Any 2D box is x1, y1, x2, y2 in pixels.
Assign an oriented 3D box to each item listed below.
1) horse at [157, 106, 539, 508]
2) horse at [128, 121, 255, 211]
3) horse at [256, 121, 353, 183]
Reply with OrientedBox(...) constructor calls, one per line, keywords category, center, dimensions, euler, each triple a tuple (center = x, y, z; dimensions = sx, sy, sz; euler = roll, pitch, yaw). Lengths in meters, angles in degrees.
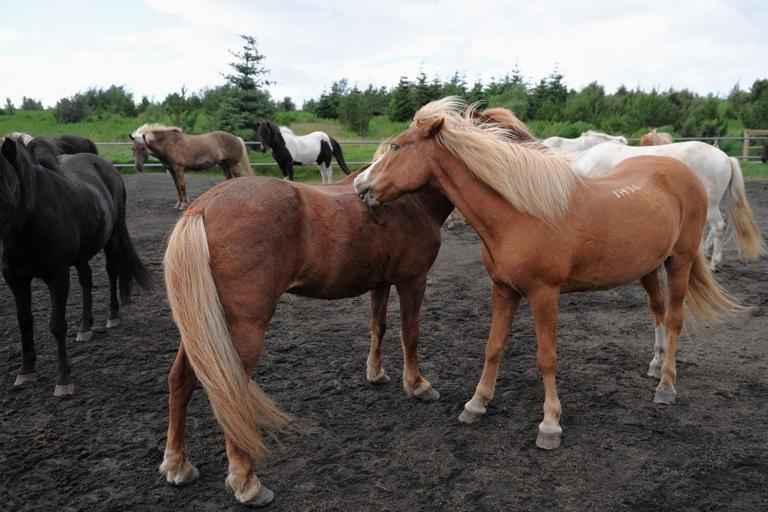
OrientedBox(category="horse", center=(-0.737, 0.556, 5.142), dimensions=(2.299, 2.371, 0.789), euler=(-12, 18, -32))
OrientedBox(category="horse", center=(-3.947, -1.950, 13.462), dimensions=(2.735, 1.718, 0.626), euler=(-16, 21, -40))
OrientedBox(category="horse", center=(-1.856, -2.378, 14.883), dimensions=(2.410, 1.350, 0.541), euler=(-9, 8, -38))
